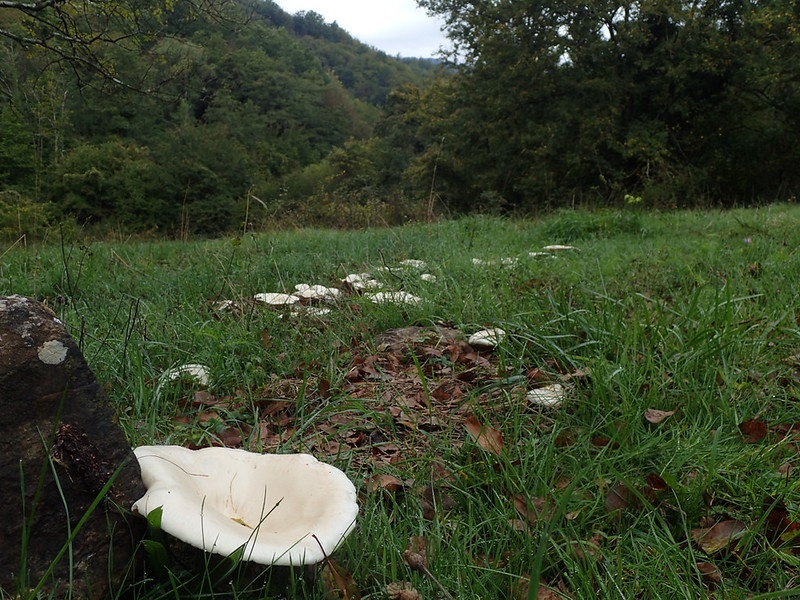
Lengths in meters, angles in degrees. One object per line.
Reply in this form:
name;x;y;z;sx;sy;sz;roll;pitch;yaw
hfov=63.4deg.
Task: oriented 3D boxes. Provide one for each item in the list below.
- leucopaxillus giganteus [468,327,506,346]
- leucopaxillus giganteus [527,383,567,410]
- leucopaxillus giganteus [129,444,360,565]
leucopaxillus giganteus;0.635;0.271;4.636;0.152;0.060;0.153;-5;11;-39
leucopaxillus giganteus;0.903;0.580;3.924;0.183;0.049;0.141;-18;43;-8
leucopaxillus giganteus;-0.745;0.947;3.147;1.076;0.347;0.672;-1;15;-1
